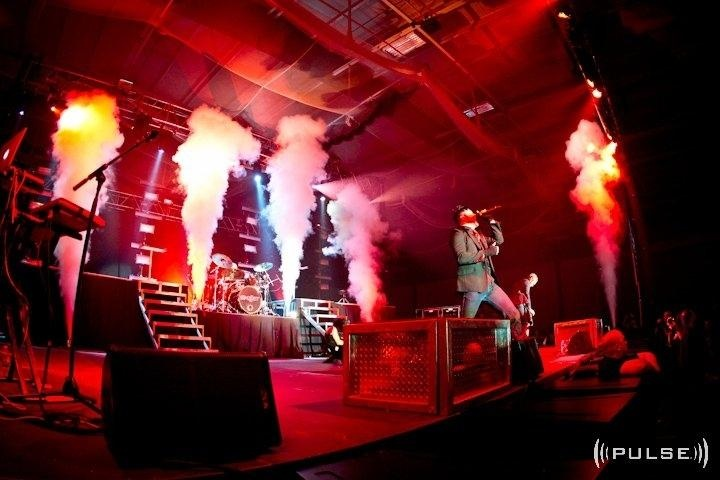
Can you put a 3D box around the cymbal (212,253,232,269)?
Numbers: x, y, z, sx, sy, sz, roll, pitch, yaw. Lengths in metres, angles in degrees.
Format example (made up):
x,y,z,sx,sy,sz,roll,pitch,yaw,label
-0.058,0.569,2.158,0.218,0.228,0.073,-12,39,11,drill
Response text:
x,y,z,sx,sy,sz,roll,pitch,yaw,label
-3.634,0.574,11.848,0.472,0.446,0.679,-5,10,-34,cymbal

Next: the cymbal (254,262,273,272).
x,y,z,sx,sy,sz,roll,pitch,yaw,label
-2.932,0.835,13.697,0.381,0.092,0.375,18,-35,-31,cymbal

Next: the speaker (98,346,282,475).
x,y,z,sx,sy,sz,roll,pitch,yaw,label
-1.392,1.385,3.787,1.188,0.893,0.813,3,-22,-12,speaker

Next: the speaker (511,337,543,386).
x,y,z,sx,sy,sz,roll,pitch,yaw,label
2.034,1.507,5.524,0.442,0.599,0.317,-7,6,-29,speaker

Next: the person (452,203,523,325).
x,y,z,sx,sy,sz,roll,pitch,yaw,label
1.603,0.330,6.066,0.980,1.487,0.685,-4,9,-31,person

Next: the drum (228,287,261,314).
x,y,z,sx,sy,sz,roll,pitch,yaw,label
-2.958,1.554,11.729,0.908,0.741,0.640,8,11,41,drum

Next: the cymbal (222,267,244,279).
x,y,z,sx,sy,sz,roll,pitch,yaw,label
-3.290,0.916,11.893,0.218,0.344,0.581,9,11,44,cymbal
